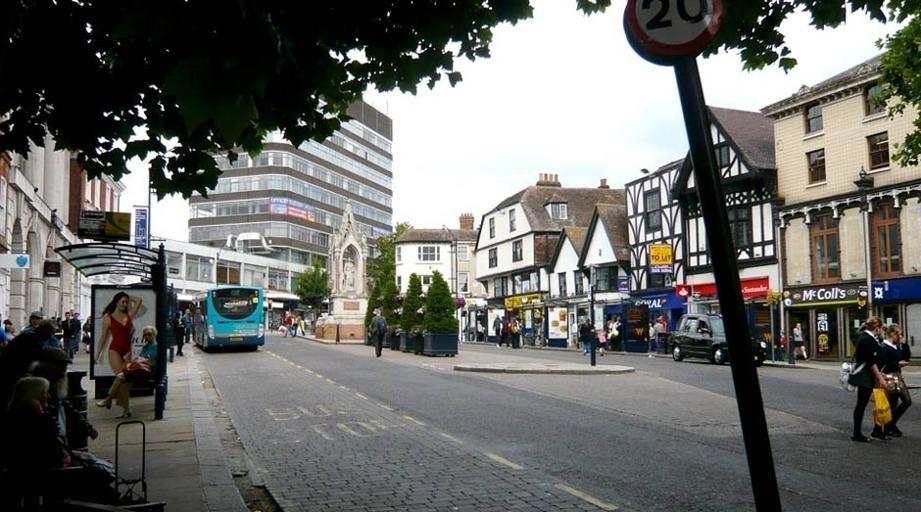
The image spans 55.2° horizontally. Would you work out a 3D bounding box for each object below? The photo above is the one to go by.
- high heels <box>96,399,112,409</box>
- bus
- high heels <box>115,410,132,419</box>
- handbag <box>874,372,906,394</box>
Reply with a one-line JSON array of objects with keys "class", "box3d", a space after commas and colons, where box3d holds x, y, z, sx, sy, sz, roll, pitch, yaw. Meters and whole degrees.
[{"class": "high heels", "box3d": [-8.818, 3.657, 21.692, 0.465, 0.200, 0.239, 12, -5, -16]}, {"class": "bus", "box3d": [-11.171, 2.927, 42.961, 2.848, 2.889, 1.338, 1, -8, -3]}, {"class": "high heels", "box3d": [-7.901, 3.722, 20.595, 0.294, 0.114, 0.164, 8, -10, -18]}, {"class": "handbag", "box3d": [9.416, 2.758, 19.101, 0.430, 0.418, 0.193, -3, -9, -9]}]
